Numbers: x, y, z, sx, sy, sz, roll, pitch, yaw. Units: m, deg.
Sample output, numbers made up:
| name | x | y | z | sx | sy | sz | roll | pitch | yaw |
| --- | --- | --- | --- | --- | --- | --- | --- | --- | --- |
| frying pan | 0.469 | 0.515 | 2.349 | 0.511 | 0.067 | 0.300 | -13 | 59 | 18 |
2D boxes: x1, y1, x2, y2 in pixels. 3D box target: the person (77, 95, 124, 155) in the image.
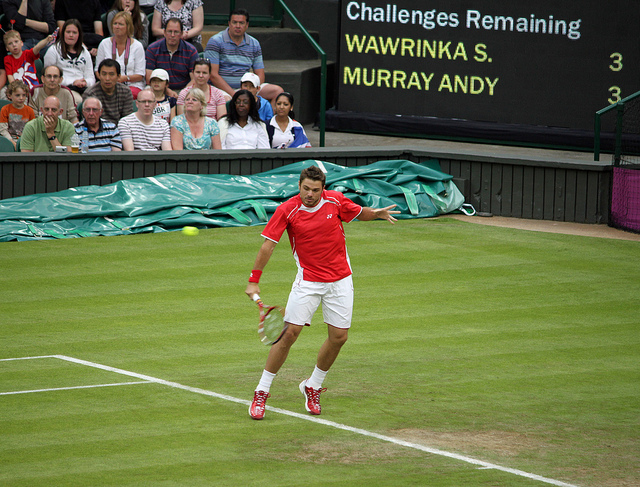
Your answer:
| name | x | y | z | sx | sy | sz | roll | pitch | yaw |
| --- | --- | --- | --- | --- | --- | --- | --- | --- | --- |
| person | -3.691 | -1.846 | 19.501 | 0.855 | 1.015 | 0.664 | -4 | 24 | -25 |

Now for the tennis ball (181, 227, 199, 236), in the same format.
| name | x | y | z | sx | sy | sz | roll | pitch | yaw |
| --- | --- | --- | --- | --- | --- | --- | --- | --- | --- |
| tennis ball | -1.983 | -0.172 | 18.089 | 0.202 | 0.125 | 0.151 | 2 | 3 | 23 |

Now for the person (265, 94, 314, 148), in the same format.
| name | x | y | z | sx | sy | sz | roll | pitch | yaw |
| --- | --- | --- | --- | --- | --- | --- | --- | --- | --- |
| person | -0.559 | -2.058 | 20.590 | 0.739 | 0.892 | 0.981 | 2 | 3 | -2 |

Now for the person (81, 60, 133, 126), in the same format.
| name | x | y | z | sx | sy | sz | roll | pitch | yaw |
| --- | --- | --- | --- | --- | --- | --- | --- | --- | --- |
| person | -3.663 | -2.405 | 19.899 | 1.067 | 1.140 | 0.651 | -11 | 18 | -44 |

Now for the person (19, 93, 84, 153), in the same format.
| name | x | y | z | sx | sy | sz | roll | pitch | yaw |
| --- | --- | --- | --- | --- | --- | --- | --- | --- | --- |
| person | -4.326 | -1.912 | 19.166 | 1.011 | 0.996 | 1.056 | 1 | 3 | -12 |

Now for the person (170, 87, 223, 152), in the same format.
| name | x | y | z | sx | sy | sz | roll | pitch | yaw |
| --- | --- | --- | --- | --- | --- | --- | --- | --- | --- |
| person | -2.053 | -2.004 | 19.704 | 0.860 | 0.975 | 0.551 | 2 | 4 | -7 |

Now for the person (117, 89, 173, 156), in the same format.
| name | x | y | z | sx | sy | sz | roll | pitch | yaw |
| --- | --- | --- | --- | --- | --- | --- | --- | --- | --- |
| person | -2.842 | -1.994 | 19.691 | 0.602 | 0.966 | 0.775 | 5 | 5 | 40 |

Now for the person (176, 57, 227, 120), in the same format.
| name | x | y | z | sx | sy | sz | roll | pitch | yaw |
| --- | --- | --- | --- | --- | --- | --- | --- | --- | --- |
| person | -2.217 | -2.632 | 20.716 | 0.945 | 1.089 | 0.794 | -13 | 29 | -29 |

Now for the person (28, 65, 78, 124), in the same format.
| name | x | y | z | sx | sy | sz | roll | pitch | yaw |
| --- | --- | --- | --- | --- | --- | --- | --- | --- | --- |
| person | -4.381 | -2.490 | 19.835 | 0.771 | 0.994 | 0.700 | -21 | 36 | -40 |
